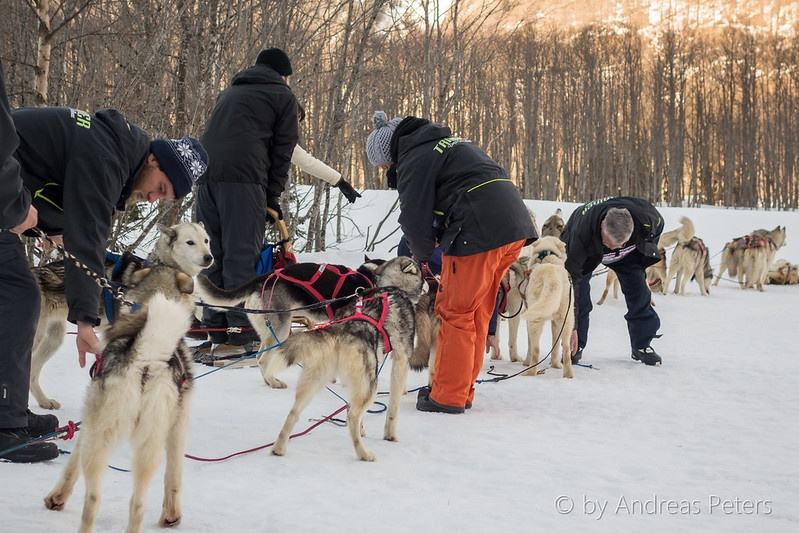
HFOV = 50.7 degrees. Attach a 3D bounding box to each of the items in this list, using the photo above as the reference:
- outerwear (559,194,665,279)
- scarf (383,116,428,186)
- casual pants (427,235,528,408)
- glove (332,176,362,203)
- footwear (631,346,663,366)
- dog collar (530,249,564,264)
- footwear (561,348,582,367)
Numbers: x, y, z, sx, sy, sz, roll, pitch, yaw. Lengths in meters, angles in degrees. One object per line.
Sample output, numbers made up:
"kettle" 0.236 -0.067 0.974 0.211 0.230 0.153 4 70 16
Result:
"outerwear" 2.687 -0.376 10.571 1.274 1.051 0.868 0 -1 -5
"scarf" 0.046 -1.279 9.286 0.522 0.722 0.344 -4 12 -12
"casual pants" 0.835 0.625 9.317 0.455 1.643 0.990 11 -17 35
"glove" -0.630 -0.973 10.641 0.272 0.376 0.151 -30 18 41
"footwear" 3.177 1.147 10.818 0.157 0.173 0.426 -2 -1 -21
"dog collar" 1.785 -0.140 10.394 0.195 0.117 0.233 0 -3 43
"footwear" 2.194 1.122 10.792 0.147 0.285 0.457 4 9 20
